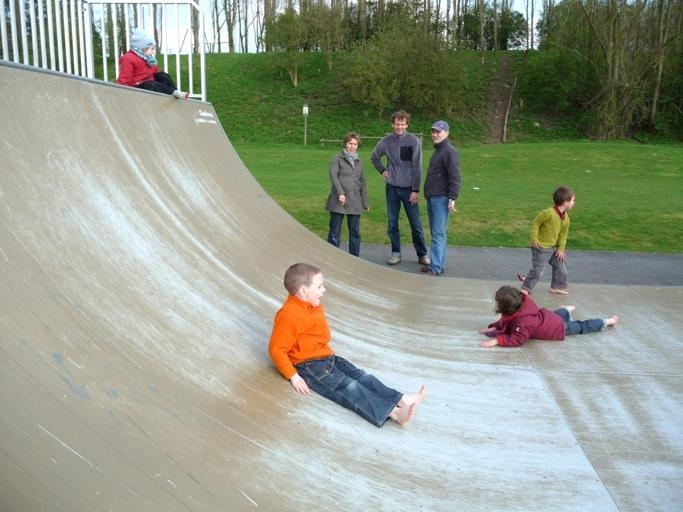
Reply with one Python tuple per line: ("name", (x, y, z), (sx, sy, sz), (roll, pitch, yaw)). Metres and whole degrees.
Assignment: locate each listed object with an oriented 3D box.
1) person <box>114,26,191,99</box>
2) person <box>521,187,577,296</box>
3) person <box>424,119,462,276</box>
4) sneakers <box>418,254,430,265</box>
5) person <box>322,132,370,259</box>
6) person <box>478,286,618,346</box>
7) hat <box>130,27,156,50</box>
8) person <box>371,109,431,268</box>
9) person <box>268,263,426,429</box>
("person", (-2.010, -2.051, 8.224), (0.714, 0.815, 0.451), (6, 25, 2))
("person", (2.233, -0.170, 8.225), (0.518, 1.165, 0.353), (3, 14, 6))
("person", (1.251, -0.722, 9.654), (0.441, 1.947, 1.025), (4, 14, 7))
("sneakers", (1.100, 0.048, 10.212), (0.075, 0.095, 0.194), (-7, 7, -38))
("person", (0.095, -0.782, 9.905), (0.540, 1.595, 0.587), (-1, 14, -10))
("person", (1.844, 0.539, 6.894), (1.077, 0.474, 0.543), (-5, 8, -16))
("hat", (-2.098, -2.301, 8.190), (0.236, 0.217, 0.194), (17, 14, -5))
("person", (0.812, -0.924, 10.337), (0.840, 2.069, 1.242), (3, 14, 5))
("person", (0.051, 0.645, 5.696), (1.193, 1.001, 0.575), (19, 25, 22))
